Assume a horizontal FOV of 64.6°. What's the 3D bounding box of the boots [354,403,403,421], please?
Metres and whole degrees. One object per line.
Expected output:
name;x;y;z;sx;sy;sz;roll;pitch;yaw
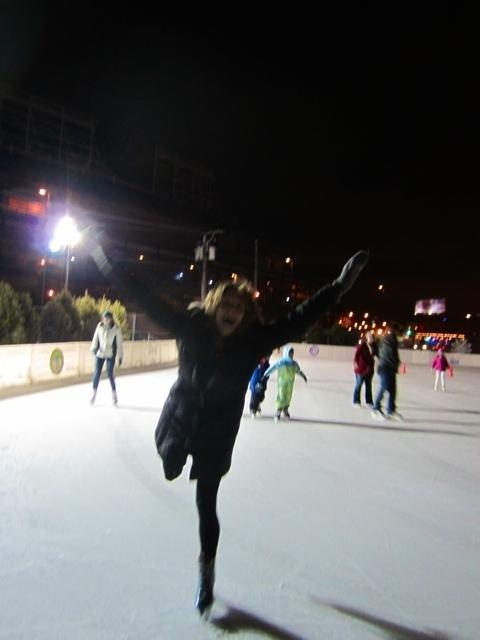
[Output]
boots;2.887;1.841;7.962;0.841;0.569;0.301;-2;-2;28

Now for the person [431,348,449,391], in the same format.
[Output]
person;6.557;1.520;12.467;0.505;0.337;1.427;5;-50;31

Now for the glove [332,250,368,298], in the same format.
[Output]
glove;0.496;-0.214;1.711;0.135;0.232;0.199;-1;-4;34

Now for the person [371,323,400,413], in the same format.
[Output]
person;3.009;1.083;7.862;0.488;1.849;0.640;-1;-3;28

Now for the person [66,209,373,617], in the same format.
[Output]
person;-0.144;0.472;1.839;1.400;1.907;0.388;0;-3;23
